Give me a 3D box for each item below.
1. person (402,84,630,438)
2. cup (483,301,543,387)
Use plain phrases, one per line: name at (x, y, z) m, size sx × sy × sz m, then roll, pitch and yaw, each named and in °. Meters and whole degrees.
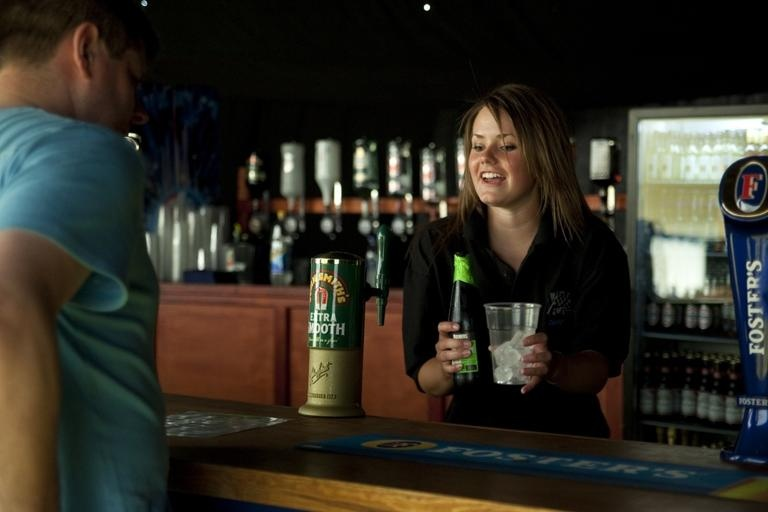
person at (0.411, 0.064, 2.196) m, size 0.742 × 1.071 × 0.691 m, roll 0°, pitch 5°, yaw 6°
cup at (0.305, 0.208, 1.671) m, size 0.198 × 0.217 × 0.186 m, roll 1°, pitch -1°, yaw 0°
